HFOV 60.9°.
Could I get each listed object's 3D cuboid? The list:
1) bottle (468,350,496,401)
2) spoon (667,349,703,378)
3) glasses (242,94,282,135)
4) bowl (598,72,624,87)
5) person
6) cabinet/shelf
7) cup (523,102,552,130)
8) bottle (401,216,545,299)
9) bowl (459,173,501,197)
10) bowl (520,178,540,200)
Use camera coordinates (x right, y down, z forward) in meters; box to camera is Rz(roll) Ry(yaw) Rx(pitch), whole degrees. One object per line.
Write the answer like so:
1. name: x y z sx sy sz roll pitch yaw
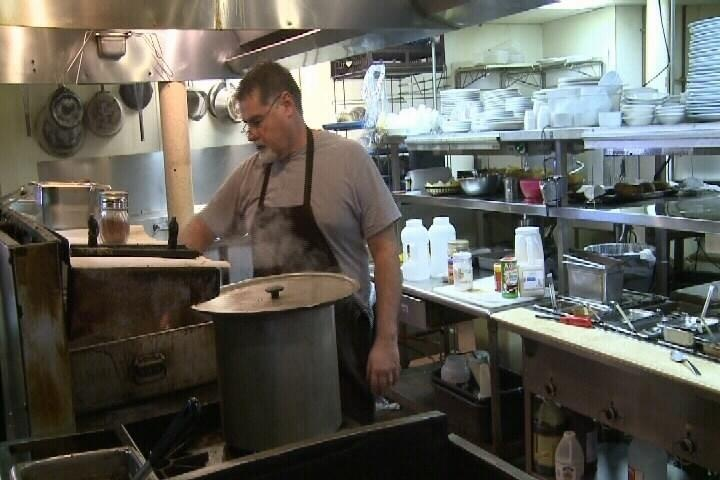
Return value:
1. bottle: 0.759 0.815 3.862 0.102 0.150 0.311 -3 11 8
2. spoon: 1.428 0.545 2.694 0.056 0.027 0.185 -6 15 0
3. glasses: -0.389 -0.467 2.285 0.190 0.130 0.102 3 11 41
4. bowl: 1.540 -0.999 3.789 0.126 0.110 0.271 -1 9 22
5. person: -0.179 -0.113 2.411 0.516 1.132 1.036 -13 12 -44
6. cabinet/shelf: 1.260 -0.256 3.887 0.514 0.952 2.145 -10 10 -32
7. cup: 1.111 -0.777 3.850 0.194 0.181 0.109 2 8 44
8. bottle: 0.710 0.069 4.235 0.373 0.455 1.271 -6 11 -31
9. bowl: 0.863 -0.393 4.389 0.198 0.086 0.197 -5 11 1
10. bowl: 1.135 -0.347 4.081 0.135 0.100 0.135 -2 6 0
